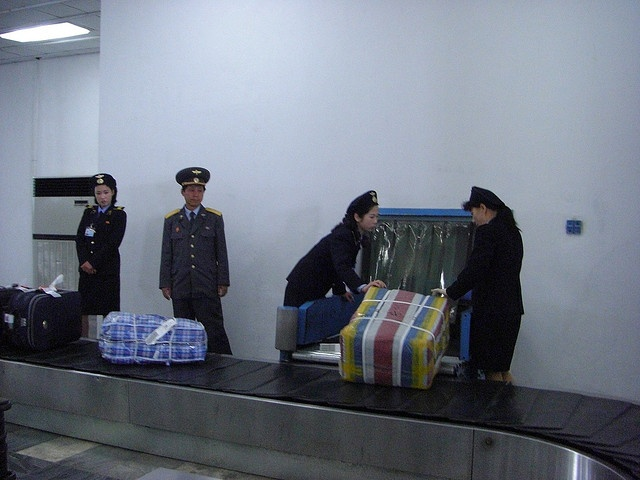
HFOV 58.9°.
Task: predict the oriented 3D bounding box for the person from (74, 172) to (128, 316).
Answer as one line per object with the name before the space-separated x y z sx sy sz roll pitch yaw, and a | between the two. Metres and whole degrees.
person | -2.127 0.057 5.525 0.457 1.384 0.351 -1 6 -17

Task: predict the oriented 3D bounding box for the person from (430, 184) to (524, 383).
person | 1.149 0.335 3.984 0.544 1.394 0.326 2 6 10

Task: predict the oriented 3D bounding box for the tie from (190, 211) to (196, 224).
tie | -1.142 -0.200 5.106 0.057 0.094 0.022 9 -7 0

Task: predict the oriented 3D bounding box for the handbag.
handbag | -1.175 0.654 4.026 0.586 0.314 0.367 1 0 -12

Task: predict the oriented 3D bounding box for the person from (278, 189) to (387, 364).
person | 0.090 0.090 4.232 0.681 0.915 0.682 1 6 -6

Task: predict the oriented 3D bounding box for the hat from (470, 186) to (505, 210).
hat | 1.183 -0.288 3.998 0.178 0.108 0.145 19 6 25
